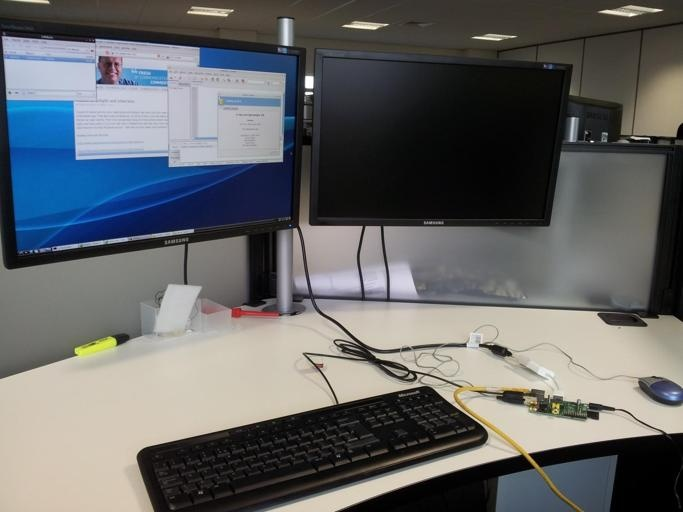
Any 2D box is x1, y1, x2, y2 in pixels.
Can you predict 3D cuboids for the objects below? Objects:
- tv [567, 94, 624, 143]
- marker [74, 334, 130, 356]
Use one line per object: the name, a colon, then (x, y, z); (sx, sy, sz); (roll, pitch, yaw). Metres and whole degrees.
tv: (1.041, -0.547, 2.134); (0.152, 0.180, 0.529); (12, 19, 38)
marker: (-0.598, 0.224, 1.328); (0.039, 0.030, 0.143); (20, 25, 41)
